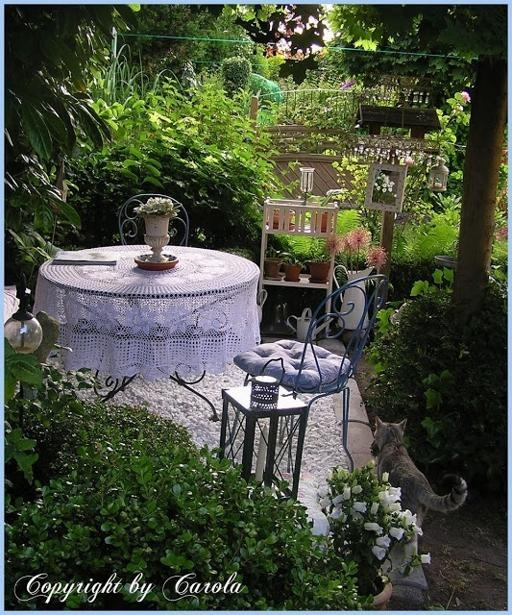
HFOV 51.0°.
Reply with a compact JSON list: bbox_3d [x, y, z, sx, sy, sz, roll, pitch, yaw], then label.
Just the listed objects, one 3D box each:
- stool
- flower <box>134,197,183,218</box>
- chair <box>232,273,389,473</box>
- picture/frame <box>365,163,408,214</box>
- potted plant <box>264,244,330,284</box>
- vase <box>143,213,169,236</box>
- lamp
[{"bbox_3d":[0.017,0.600,2.282,0.339,0.401,0.330,7,3,33],"label":"stool"},{"bbox_3d":[-0.593,-0.589,3.174,0.229,0.121,0.233,3,10,-17],"label":"flower"},{"bbox_3d":[0.240,0.325,2.784,0.661,0.937,0.556,10,7,39],"label":"chair"},{"bbox_3d":[1.036,-0.966,4.311,0.297,0.366,0.151,8,11,7],"label":"picture/frame"},{"bbox_3d":[0.400,-0.413,5.344,0.472,0.245,0.548,0,0,-39],"label":"potted plant"},{"bbox_3d":[-0.591,-0.490,3.155,0.124,0.082,0.125,11,12,32],"label":"vase"},{"bbox_3d":[-0.749,0.035,1.729,0.108,0.262,0.384,3,10,-24],"label":"lamp"}]
